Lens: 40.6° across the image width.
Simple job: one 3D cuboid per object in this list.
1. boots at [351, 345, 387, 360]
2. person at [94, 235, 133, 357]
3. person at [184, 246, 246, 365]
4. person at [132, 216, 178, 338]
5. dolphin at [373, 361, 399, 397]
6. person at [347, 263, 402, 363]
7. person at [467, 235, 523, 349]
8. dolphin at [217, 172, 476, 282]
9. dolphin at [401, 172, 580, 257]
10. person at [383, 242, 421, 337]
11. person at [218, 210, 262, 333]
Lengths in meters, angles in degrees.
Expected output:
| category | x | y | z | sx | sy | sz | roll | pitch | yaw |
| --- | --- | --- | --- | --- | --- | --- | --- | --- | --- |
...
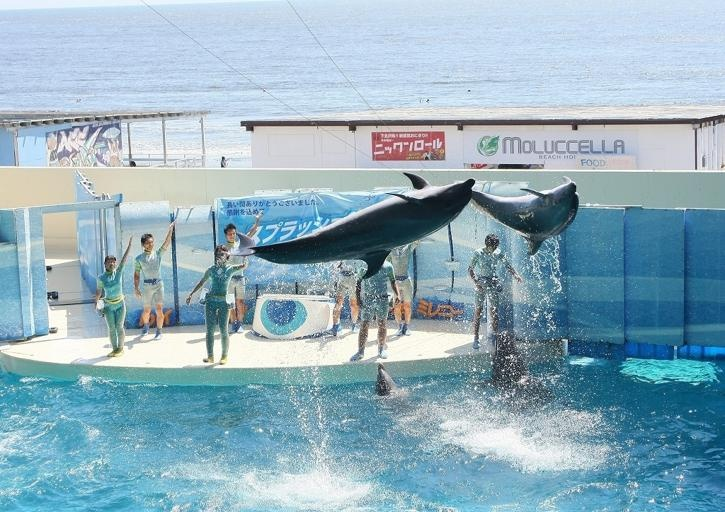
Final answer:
| category | x | y | z | sx | sy | sz | roll | pitch | yaw |
| --- | --- | --- | --- | --- | --- | --- | --- | --- | --- |
| boots | 0.105 | 1.702 | 17.231 | 0.780 | 0.235 | 0.324 | -2 | -25 | -9 |
| person | -4.408 | 0.819 | 17.334 | 0.567 | 1.874 | 0.444 | -1 | 2 | -38 |
| person | -2.575 | 0.684 | 17.156 | 0.915 | 2.282 | 0.822 | -2 | 19 | -28 |
| person | -3.843 | 0.422 | 18.218 | 0.727 | 2.154 | 0.972 | -1 | 1 | -11 |
| dolphin | 0.411 | 2.038 | 16.566 | 0.290 | 0.640 | 0.229 | 6 | -11 | -44 |
| person | 0.226 | 0.767 | 17.071 | 0.834 | 2.102 | 0.609 | 1 | 9 | -2 |
| person | 2.365 | 0.566 | 17.806 | 0.879 | 2.059 | 0.790 | 7 | 19 | 2 |
| dolphin | 0.078 | -0.439 | 13.717 | 2.958 | 1.463 | 0.393 | -1 | 1 | -5 |
| dolphin | 1.944 | -0.657 | 14.281 | 2.085 | 0.963 | 1.101 | 8 | -1 | 39 |
| person | 0.735 | 0.577 | 18.145 | 0.551 | 1.712 | 0.457 | -1 | 16 | -14 |
| person | -2.232 | 0.479 | 18.381 | 0.716 | 2.644 | 0.618 | -2 | 19 | -12 |
